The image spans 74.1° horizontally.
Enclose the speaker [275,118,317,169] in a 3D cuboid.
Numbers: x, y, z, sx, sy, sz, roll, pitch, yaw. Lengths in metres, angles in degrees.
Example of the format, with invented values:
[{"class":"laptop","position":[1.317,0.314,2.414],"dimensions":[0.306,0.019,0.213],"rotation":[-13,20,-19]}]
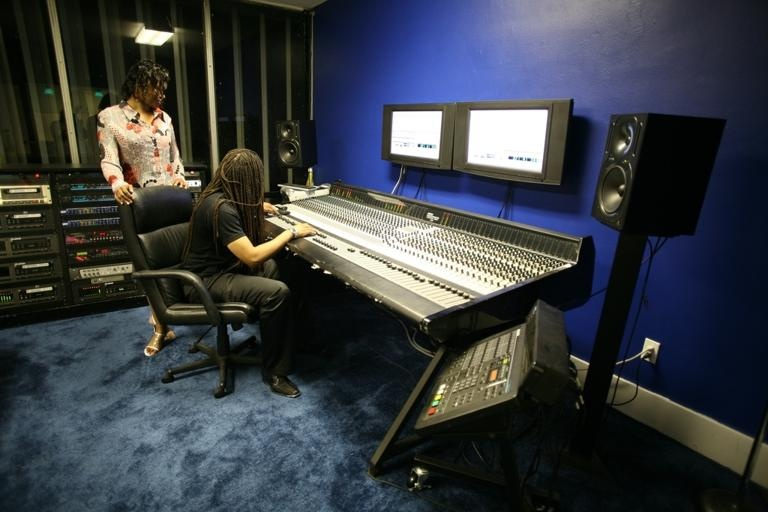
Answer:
[{"class":"speaker","position":[-0.875,-1.125,5.102],"dimensions":[0.417,0.434,0.414],"rotation":[-5,16,-14]}]

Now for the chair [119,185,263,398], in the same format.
[{"class":"chair","position":[-1.280,0.183,3.668],"dimensions":[0.937,1.339,0.858],"rotation":[1,15,-3]}]

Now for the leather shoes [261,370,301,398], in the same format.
[{"class":"leather shoes","position":[-0.742,0.883,3.621],"dimensions":[0.325,0.118,0.130],"rotation":[16,21,35]}]

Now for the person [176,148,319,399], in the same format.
[{"class":"person","position":[-0.980,0.118,3.779],"dimensions":[0.954,1.709,0.976],"rotation":[8,15,33]}]

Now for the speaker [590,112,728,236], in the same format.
[{"class":"speaker","position":[1.564,-0.484,2.886],"dimensions":[0.540,0.644,0.394],"rotation":[5,14,0]}]

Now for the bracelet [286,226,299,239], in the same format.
[{"class":"bracelet","position":[-0.642,-0.165,3.581],"dimensions":[0.073,0.106,0.108],"rotation":[-5,12,-18]}]

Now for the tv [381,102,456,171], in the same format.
[{"class":"tv","position":[0.244,-0.987,4.180],"dimensions":[0.737,0.498,0.102],"rotation":[-5,13,-33]}]

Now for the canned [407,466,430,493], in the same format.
[{"class":"canned","position":[0.215,1.281,2.956],"dimensions":[0.160,0.160,0.064],"rotation":[-8,22,-24]}]
